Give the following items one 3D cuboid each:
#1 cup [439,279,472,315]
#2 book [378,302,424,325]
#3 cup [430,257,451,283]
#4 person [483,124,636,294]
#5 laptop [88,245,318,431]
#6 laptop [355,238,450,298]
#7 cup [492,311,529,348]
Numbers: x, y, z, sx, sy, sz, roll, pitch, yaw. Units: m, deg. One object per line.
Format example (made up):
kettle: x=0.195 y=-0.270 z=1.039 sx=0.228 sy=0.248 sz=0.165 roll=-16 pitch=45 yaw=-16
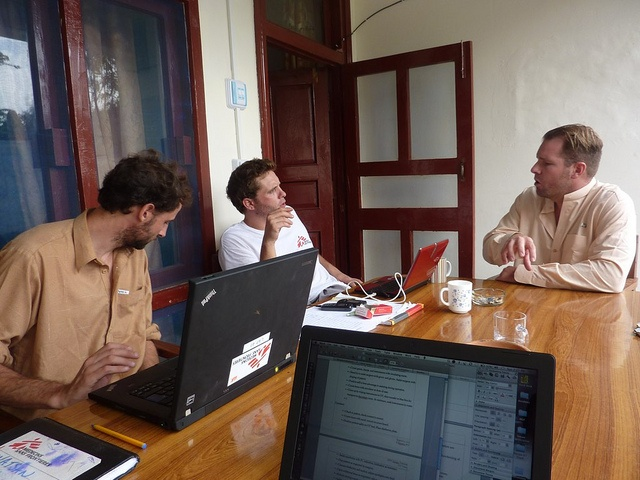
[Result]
cup: x=0.565 y=0.243 z=1.892 sx=0.121 sy=0.118 sz=0.083 roll=0 pitch=1 yaw=19
book: x=0.335 y=0.295 z=1.825 sx=0.062 sy=0.034 sz=0.312 roll=14 pitch=19 yaw=36
cup: x=0.627 y=0.165 z=2.412 sx=0.136 sy=0.142 sz=0.082 roll=-6 pitch=8 yaw=-44
person: x=1.296 y=-0.185 z=2.387 sx=0.683 sy=0.796 sz=0.787 roll=4 pitch=15 yaw=27
laptop: x=-0.335 y=0.234 z=1.353 sx=0.442 sy=0.424 sz=0.542 roll=6 pitch=9 yaw=25
laptop: x=0.424 y=0.114 z=2.276 sx=0.372 sy=0.262 sz=0.416 roll=7 pitch=9 yaw=28
cup: x=0.648 y=0.295 z=1.526 sx=0.101 sy=0.104 sz=0.138 roll=0 pitch=-1 yaw=26
